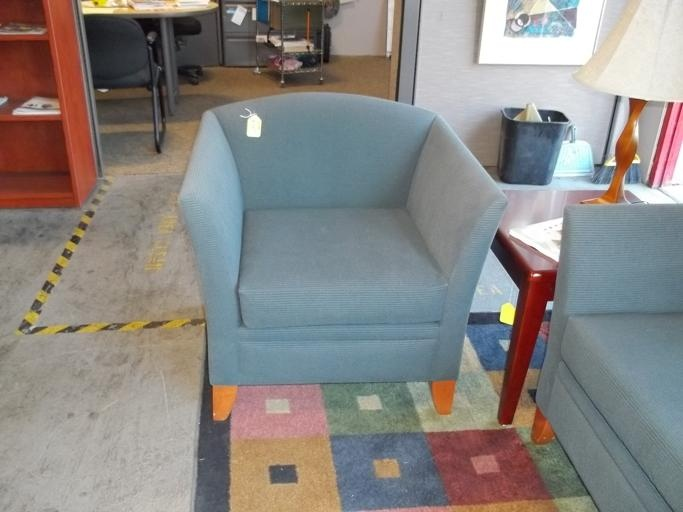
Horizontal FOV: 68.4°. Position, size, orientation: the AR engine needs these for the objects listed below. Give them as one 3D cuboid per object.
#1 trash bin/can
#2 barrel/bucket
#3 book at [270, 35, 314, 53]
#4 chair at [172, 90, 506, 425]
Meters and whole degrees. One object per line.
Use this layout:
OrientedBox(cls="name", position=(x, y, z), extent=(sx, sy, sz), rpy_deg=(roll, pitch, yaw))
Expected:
OrientedBox(cls="trash bin/can", position=(1.246, -0.816, 3.598), extent=(0.486, 0.521, 0.537), rpy_deg=(3, 18, -3))
OrientedBox(cls="barrel/bucket", position=(1.209, -0.812, 3.618), extent=(0.490, 0.523, 0.544), rpy_deg=(2, 20, -5))
OrientedBox(cls="book", position=(-0.616, -2.615, 6.199), extent=(0.390, 0.105, 0.354), rpy_deg=(-1, 33, -14))
OrientedBox(cls="chair", position=(0.043, 0.131, 2.451), extent=(1.533, 1.426, 1.253), rpy_deg=(-1, 39, -4))
